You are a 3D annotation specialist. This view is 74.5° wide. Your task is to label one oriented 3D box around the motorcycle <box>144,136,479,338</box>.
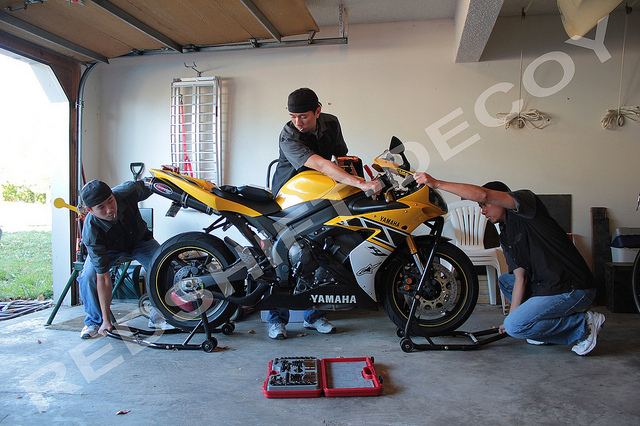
[{"bbox_3d":[-0.062,0.278,3.842,3.100,1.583,0.883,0,-3,1],"label":"motorcycle"}]
